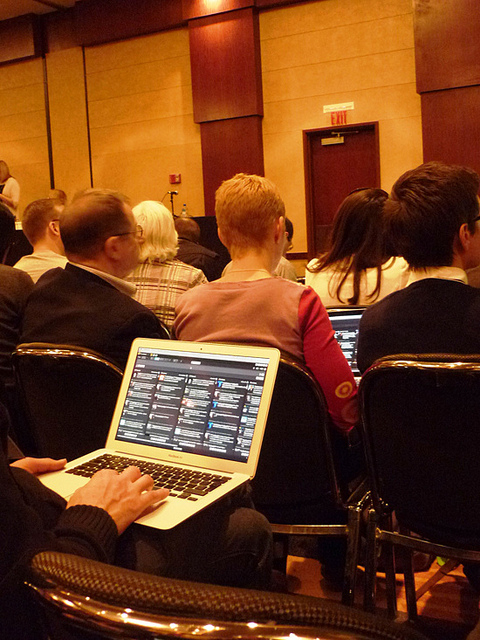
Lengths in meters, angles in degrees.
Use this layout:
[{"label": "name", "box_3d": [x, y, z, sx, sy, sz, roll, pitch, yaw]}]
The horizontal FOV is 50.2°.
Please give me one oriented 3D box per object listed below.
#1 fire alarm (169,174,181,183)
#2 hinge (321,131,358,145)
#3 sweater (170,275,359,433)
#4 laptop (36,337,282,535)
[{"label": "fire alarm", "box_3d": [-0.953, -2.091, 7.609, 0.134, 0.099, 0.019, 5, 7, 29]}, {"label": "hinge", "box_3d": [1.286, -2.357, 6.653, 0.465, 0.146, 0.067, 1, 7, 21]}, {"label": "sweater", "box_3d": [0.039, 0.062, 1.492, 0.573, 0.413, 0.298, 2, 22, 12]}, {"label": "laptop", "box_3d": [-0.147, 0.218, 1.089, 0.388, 0.373, 0.243, 13, 3, 33]}]
